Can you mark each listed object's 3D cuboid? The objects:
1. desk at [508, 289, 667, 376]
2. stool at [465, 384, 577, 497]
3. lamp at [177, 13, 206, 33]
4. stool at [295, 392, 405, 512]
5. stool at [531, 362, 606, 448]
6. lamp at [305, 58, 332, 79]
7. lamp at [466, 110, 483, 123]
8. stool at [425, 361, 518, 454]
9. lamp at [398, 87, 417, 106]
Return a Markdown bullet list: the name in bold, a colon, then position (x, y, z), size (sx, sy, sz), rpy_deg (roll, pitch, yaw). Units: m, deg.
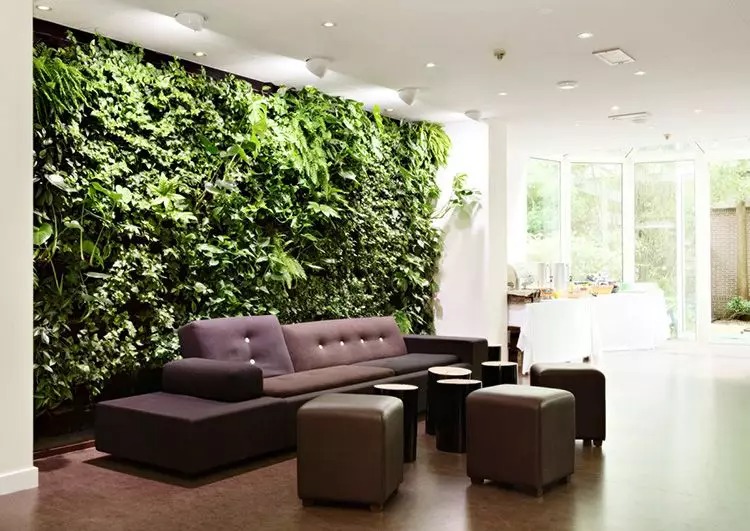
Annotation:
- **desk**: position (3.798, 1.003, 8.932), size (0.625, 1.144, 4.533), rpy_deg (1, 1, 45)
- **stool**: position (1.105, 1.199, 3.960), size (0.720, 0.722, 0.691), rpy_deg (2, -4, -44)
- **lamp**: position (-1.544, -2.046, 4.475), size (0.142, 0.061, 0.171), rpy_deg (-4, -10, 38)
- **stool**: position (-0.104, 1.252, 3.767), size (0.670, 0.681, 0.666), rpy_deg (-1, -5, 15)
- **stool**: position (1.751, 1.210, 4.888), size (0.682, 0.690, 0.662), rpy_deg (0, -2, -21)
- **lamp**: position (-0.584, -1.988, 5.389), size (0.184, 0.139, 0.170), rpy_deg (1, 3, 2)
- **lamp**: position (1.326, -1.993, 7.131), size (0.125, 0.088, 0.125), rpy_deg (-2, 1, 40)
- **stool**: position (0.956, 1.256, 4.806), size (0.969, 0.659, 0.489), rpy_deg (-1, 3, -27)
- **lamp**: position (0.392, -1.965, 6.189), size (0.212, 0.146, 0.229), rpy_deg (-1, 1, -32)
